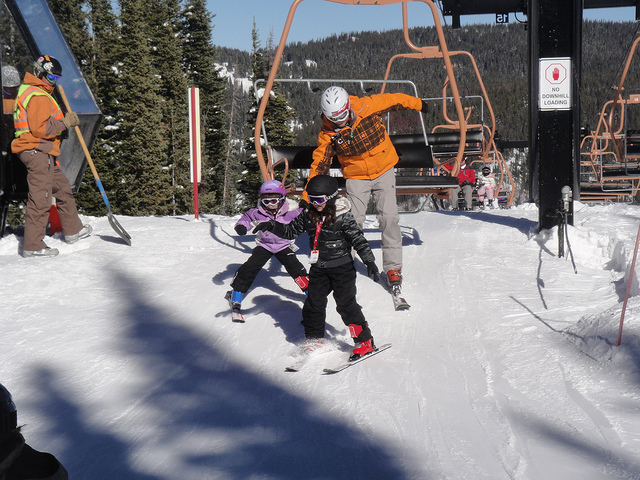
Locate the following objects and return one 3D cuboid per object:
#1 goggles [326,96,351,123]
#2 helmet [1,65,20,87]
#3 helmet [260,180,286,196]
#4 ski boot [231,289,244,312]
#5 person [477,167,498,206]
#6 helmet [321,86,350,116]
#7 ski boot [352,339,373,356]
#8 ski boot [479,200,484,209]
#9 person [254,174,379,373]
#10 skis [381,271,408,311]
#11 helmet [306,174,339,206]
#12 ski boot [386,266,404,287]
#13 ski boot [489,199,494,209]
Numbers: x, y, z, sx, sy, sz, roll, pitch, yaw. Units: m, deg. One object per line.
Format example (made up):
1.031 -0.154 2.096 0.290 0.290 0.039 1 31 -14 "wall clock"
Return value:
0.188 -1.327 5.253 0.143 0.202 0.106 -15 48 -1 "goggles"
-4.251 -2.261 7.086 0.206 0.281 0.315 -9 17 -27 "helmet"
-0.462 -0.504 5.054 0.267 0.160 0.207 -8 16 -22 "helmet"
-0.810 0.584 4.998 0.067 0.219 0.085 3 -7 -29 "ski boot"
6.150 -2.220 19.036 0.848 0.633 1.865 6 -16 21 "person"
0.154 -1.376 5.286 0.221 0.293 0.313 -3 -19 3 "helmet"
0.345 0.882 4.203 0.168 0.095 0.110 -2 15 1 "ski boot"
5.715 -1.257 18.217 0.168 0.318 0.152 10 18 39 "ski boot"
-0.041 0.284 4.554 0.993 1.743 0.512 -4 18 -5 "person"
0.777 0.550 5.419 0.111 0.061 0.702 -9 22 0 "skis"
0.029 -0.458 4.424 0.255 0.223 0.206 23 2 -20 "helmet"
0.790 0.392 5.500 0.157 0.228 0.470 0 -7 1 "ski boot"
6.110 -1.306 18.435 0.137 0.280 0.363 2 15 13 "ski boot"
